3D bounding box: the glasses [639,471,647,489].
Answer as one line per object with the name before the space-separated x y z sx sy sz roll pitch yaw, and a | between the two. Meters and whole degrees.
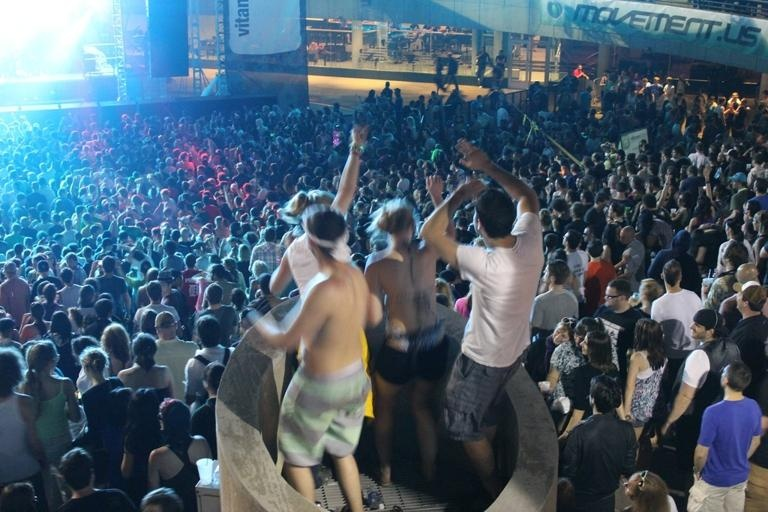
glasses | 2.325 1.996 6.092 0.047 0.045 0.166 6 51 34
